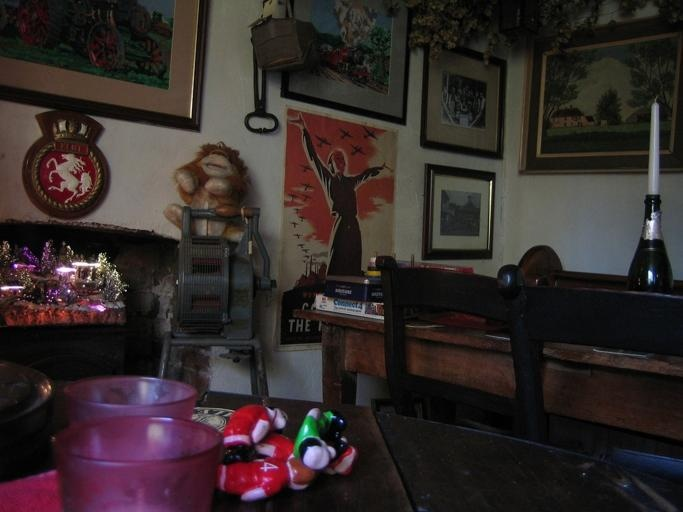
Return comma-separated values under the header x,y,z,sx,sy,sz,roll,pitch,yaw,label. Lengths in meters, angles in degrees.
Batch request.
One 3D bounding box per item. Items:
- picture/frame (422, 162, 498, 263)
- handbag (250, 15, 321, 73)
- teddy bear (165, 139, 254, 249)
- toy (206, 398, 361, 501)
x,y,z,sx,sy,sz,roll,pitch,yaw,label
0.696,-0.269,2.955,0.563,0.627,0.043,1,1,-37,picture/frame
-0.236,-0.933,2.158,0.262,0.215,0.281,1,19,34,handbag
-0.551,-0.275,2.044,0.338,0.422,0.372,1,2,-12,teddy bear
-0.047,0.142,0.412,0.063,0.037,0.088,16,14,31,toy
